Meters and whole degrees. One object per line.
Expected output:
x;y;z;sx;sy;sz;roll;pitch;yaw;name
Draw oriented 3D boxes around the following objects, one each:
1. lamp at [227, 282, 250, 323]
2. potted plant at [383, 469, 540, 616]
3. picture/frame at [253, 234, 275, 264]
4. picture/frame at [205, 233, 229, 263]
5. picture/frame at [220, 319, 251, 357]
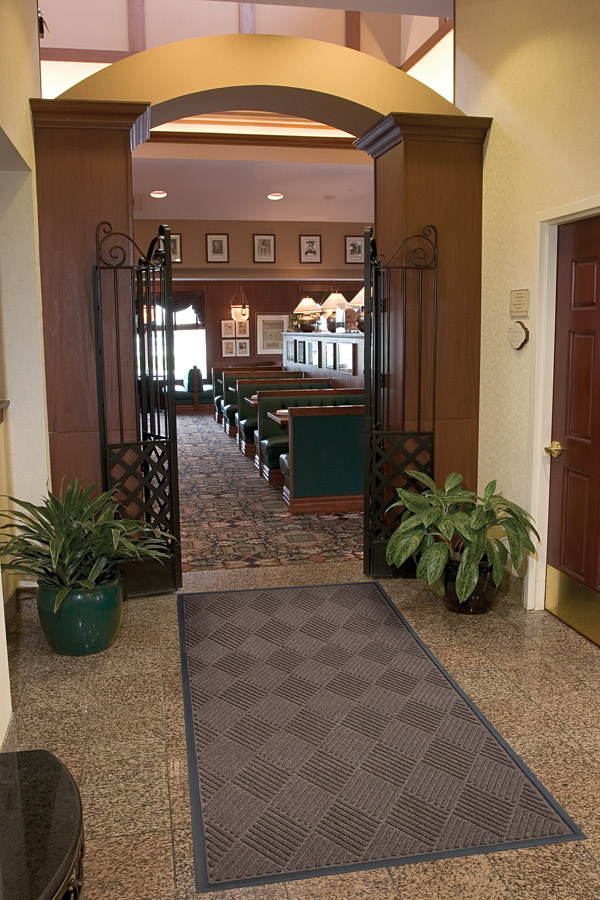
-1.383;-3.382;14.354;0.430;0.880;0.467;-1;4;-7;lamp
0.970;0.518;3.831;0.696;0.613;0.834;0;0;14;potted plant
-0.661;-3.618;11.189;0.486;0.663;0.023;-1;7;-15;picture/frame
-1.461;-3.540;10.929;0.464;0.581;0.040;-5;10;-29;picture/frame
-1.528;-2.640;14.591;0.809;1.144;0.042;-2;7;-11;picture/frame
